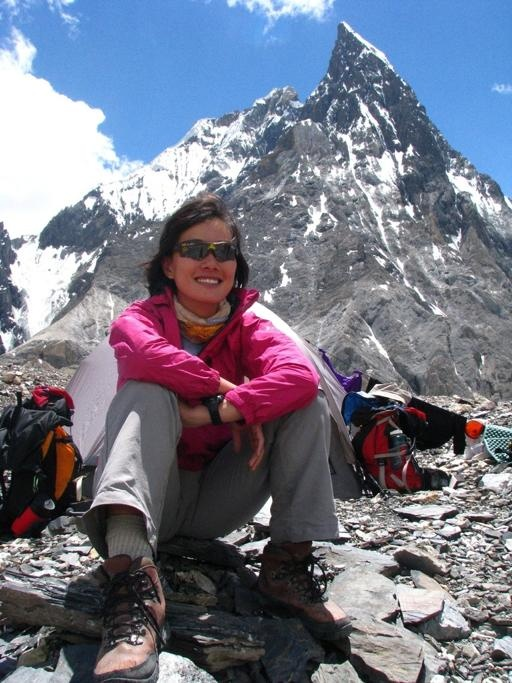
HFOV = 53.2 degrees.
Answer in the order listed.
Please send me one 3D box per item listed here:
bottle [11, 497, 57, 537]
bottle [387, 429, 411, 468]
[{"bbox_3d":[-2.014,1.599,4.588,0.199,0.321,0.321,41,26,16],"label":"bottle"},{"bbox_3d":[1.527,1.116,5.388,0.359,0.391,0.122,9,-13,-42],"label":"bottle"}]
